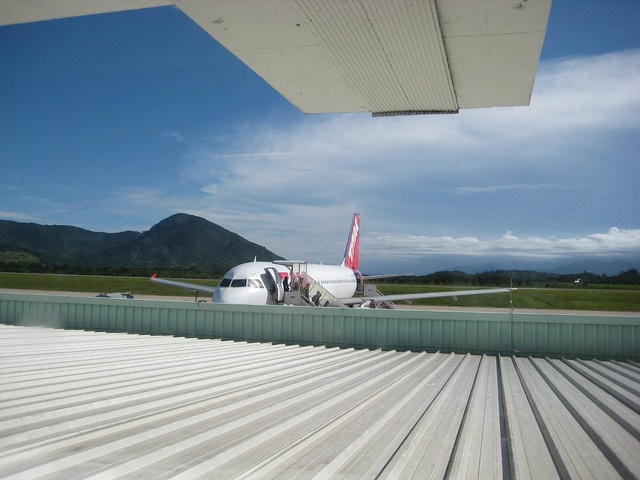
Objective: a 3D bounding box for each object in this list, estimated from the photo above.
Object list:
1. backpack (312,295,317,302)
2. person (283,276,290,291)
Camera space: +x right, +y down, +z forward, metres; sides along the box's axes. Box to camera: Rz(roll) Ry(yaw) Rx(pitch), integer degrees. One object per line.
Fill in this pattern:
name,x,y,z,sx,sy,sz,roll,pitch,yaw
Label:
backpack,-0.271,2.737,20.035,0.059,0.166,0.228,21,-5,-35
person,-1.630,2.091,20.751,0.354,0.672,1.244,6,-5,-4
